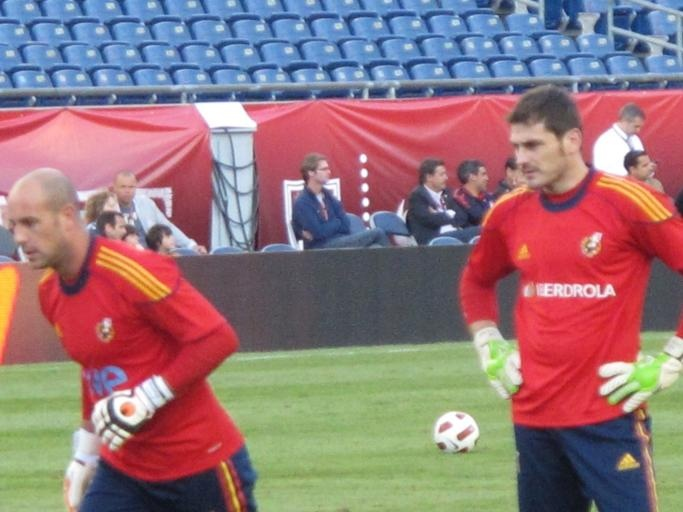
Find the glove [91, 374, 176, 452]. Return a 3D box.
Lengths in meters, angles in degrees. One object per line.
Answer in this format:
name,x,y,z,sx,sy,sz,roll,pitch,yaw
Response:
glove,-1.565,1.122,11.070,0.675,0.410,0.258,-34,12,-6

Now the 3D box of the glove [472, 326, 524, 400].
glove,1.290,0.835,11.628,0.326,0.528,0.201,-37,-35,24

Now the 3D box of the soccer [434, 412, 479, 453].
soccer,1.078,1.701,14.043,0.383,0.392,0.398,24,-11,7
